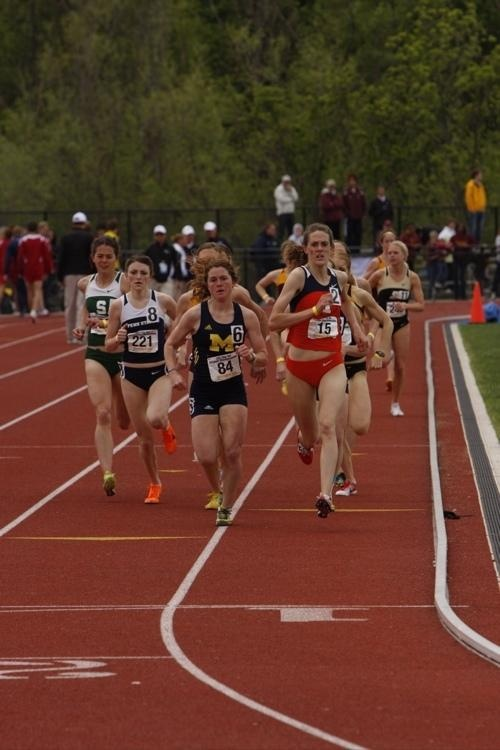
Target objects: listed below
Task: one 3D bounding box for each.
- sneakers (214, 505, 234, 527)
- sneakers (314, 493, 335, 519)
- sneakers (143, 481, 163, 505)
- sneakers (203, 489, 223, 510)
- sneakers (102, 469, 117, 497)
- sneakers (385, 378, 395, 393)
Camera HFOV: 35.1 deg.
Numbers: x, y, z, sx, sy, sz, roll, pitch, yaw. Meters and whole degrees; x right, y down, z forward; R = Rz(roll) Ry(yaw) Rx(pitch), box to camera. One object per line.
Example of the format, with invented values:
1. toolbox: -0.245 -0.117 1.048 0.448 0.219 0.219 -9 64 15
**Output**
1. sneakers: -0.218 1.103 6.160 0.074 0.094 0.225 1 5 3
2. sneakers: 0.511 0.909 5.492 0.124 0.130 0.291 8 -33 6
3. sneakers: -0.890 1.070 7.201 0.091 0.107 0.275 2 5 3
4. sneakers: -0.325 1.093 6.871 0.099 0.121 0.283 0 1 6
5. sneakers: -1.242 0.986 6.946 0.119 0.342 0.156 0 40 -9
6. sneakers: 1.899 0.171 10.715 0.085 0.237 0.102 -3 35 -3
